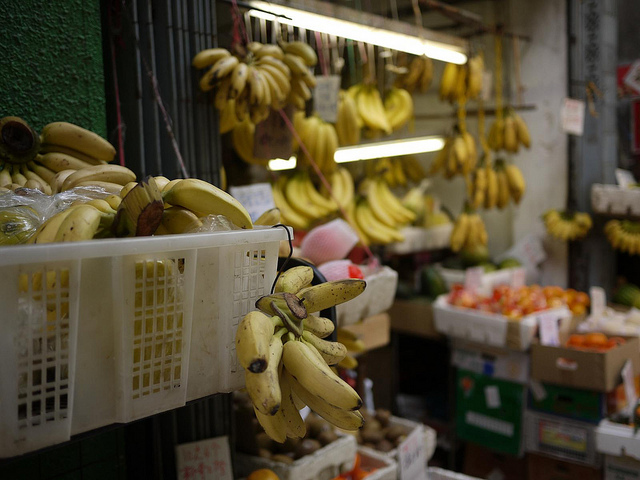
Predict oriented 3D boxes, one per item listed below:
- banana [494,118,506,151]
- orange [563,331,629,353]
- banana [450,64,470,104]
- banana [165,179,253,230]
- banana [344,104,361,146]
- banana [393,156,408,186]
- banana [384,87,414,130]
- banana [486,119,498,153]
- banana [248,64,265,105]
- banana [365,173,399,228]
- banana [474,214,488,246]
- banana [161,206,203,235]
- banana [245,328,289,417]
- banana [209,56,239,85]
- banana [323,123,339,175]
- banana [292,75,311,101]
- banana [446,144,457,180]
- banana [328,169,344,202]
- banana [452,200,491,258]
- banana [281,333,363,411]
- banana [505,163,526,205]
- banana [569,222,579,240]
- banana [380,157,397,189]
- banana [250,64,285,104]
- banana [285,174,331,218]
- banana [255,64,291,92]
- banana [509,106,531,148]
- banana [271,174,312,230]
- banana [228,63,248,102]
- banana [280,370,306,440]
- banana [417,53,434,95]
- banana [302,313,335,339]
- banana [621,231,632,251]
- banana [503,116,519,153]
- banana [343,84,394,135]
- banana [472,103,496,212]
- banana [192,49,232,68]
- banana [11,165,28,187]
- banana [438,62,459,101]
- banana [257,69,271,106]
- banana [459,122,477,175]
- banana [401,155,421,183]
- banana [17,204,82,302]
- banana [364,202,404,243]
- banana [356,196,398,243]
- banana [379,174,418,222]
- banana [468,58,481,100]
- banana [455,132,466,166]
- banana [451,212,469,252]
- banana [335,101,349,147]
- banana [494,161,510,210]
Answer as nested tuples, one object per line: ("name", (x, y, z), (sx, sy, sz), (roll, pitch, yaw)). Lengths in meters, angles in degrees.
("banana", (0.543, -0.319, 1.689), (0.024, 0.092, 0.025), (1, -2, -32))
("orange", (0.791, 0.292, 1.604), (0.166, 0.043, 0.073), (-2, 8, 27))
("banana", (0.455, -0.516, 1.817), (0.019, 0.113, 0.112), (-5, 7, -11))
("banana", (-0.306, -0.095, 1.517), (0.274, 0.078, 0.103), (32, -2, -1))
("banana", (0.191, -0.639, 3.230), (0.054, 0.273, 0.084), (-4, 24, 15))
("banana", (0.538, -0.476, 3.763), (0.046, 0.166, 0.033), (-5, -10, -30))
("banana", (0.428, -0.709, 3.071), (0.062, 0.242, 0.163), (7, 6, 43))
("banana", (0.523, -0.323, 1.708), (0.017, 0.076, 0.056), (2, 23, 15))
("banana", (-0.241, -0.580, 2.110), (0.048, 0.170, 0.039), (6, -21, -41))
("banana", (0.401, -0.259, 3.688), (0.057, 0.355, 0.113), (-30, -25, 21))
("banana", (0.537, -0.034, 1.855), (0.031, 0.119, 0.031), (-10, 17, 34))
("banana", (-0.347, -0.048, 1.399), (0.103, 0.047, 0.030), (15, -15, 12))
("banana", (-0.116, 0.317, 1.253), (0.052, 0.246, 0.075), (22, -15, -5))
("banana", (-0.362, -0.640, 2.102), (0.040, 0.046, 0.139), (-36, 9, 32))
("banana", (0.075, -0.516, 3.165), (0.067, 0.304, 0.104), (-7, 17, -27))
("banana", (-0.076, -0.682, 2.493), (0.056, 0.091, 0.194), (-3, 8, 13))
("banana", (0.463, -0.271, 1.961), (0.023, 0.126, 0.039), (-3, 16, -2))
("banana", (0.109, -0.351, 3.473), (0.059, 0.230, 0.155), (-2, -2, 30))
("banana", (0.529, -0.075, 1.981), (0.106, 0.228, 0.084), (-3, -9, 22))
("banana", (0.001, 0.317, 1.313), (0.195, 0.186, 0.058), (-1, 7, 27))
("banana", (0.585, -0.169, 1.683), (0.024, 0.107, 0.067), (-16, 37, 9))
("banana", (0.728, -0.025, 1.601), (0.025, 0.037, 0.008), (5, 2, 39))
("banana", (0.462, -0.466, 3.797), (0.042, 0.205, 0.065), (-6, 29, 39))
("banana", (-0.197, -0.625, 2.232), (0.065, 0.185, 0.047), (-42, 8, 14))
("banana", (-0.069, -0.202, 3.354), (0.351, 0.140, 0.062), (3, 16, -44))
("banana", (-0.193, -0.640, 2.200), (0.041, 0.159, 0.061), (-31, 29, 31))
("banana", (0.588, -0.336, 1.663), (0.030, 0.121, 0.030), (-15, -5, -31))
("banana", (-0.122, -0.242, 3.402), (0.402, 0.149, 0.073), (34, 44, 16))
("banana", (-0.313, -0.592, 2.117), (0.042, 0.058, 0.183), (9, 54, 4))
("banana", (-0.072, 0.431, 1.389), (0.038, 0.217, 0.065), (-11, 10, -15))
("banana", (0.395, -0.622, 2.141), (0.042, 0.098, 0.163), (-21, -18, 2))
("banana", (-0.006, 0.225, 1.443), (0.092, 0.031, 0.059), (30, -13, -37))
("banana", (0.854, 0.004, 1.560), (0.014, 0.064, 0.012), (6, 6, -27))
("banana", (0.569, -0.312, 1.671), (0.032, 0.117, 0.034), (-5, -4, -5))
("banana", (0.264, -0.744, 3.167), (0.135, 0.179, 0.401), (-40, 29, 18))
("banana", (0.511, -0.262, 1.741), (0.020, 0.321, 0.091), (-7, 7, -29))
("banana", (-0.409, -0.683, 2.099), (0.129, 0.076, 0.047), (-13, 20, -23))
("banana", (-0.911, -0.194, 1.692), (0.021, 0.048, 0.073), (-15, 56, -29))
("banana", (0.433, -0.536, 1.886), (0.037, 0.126, 0.030), (-20, -29, 41))
("banana", (-0.213, -0.581, 2.152), (0.042, 0.181, 0.033), (16, -32, -22))
("banana", (0.474, -0.289, 1.805), (0.035, 0.172, 0.050), (-19, 15, -40))
("banana", (0.588, -0.463, 3.624), (0.096, 0.158, 0.368), (-4, 7, 0))
("banana", (-0.587, 0.036, 1.214), (0.040, 0.207, 0.064), (7, -14, 23))
("banana", (0.395, -0.112, 3.552), (0.049, 0.265, 0.093), (-28, -25, -26))
("banana", (0.347, -0.121, 3.514), (0.053, 0.299, 0.110), (-47, -28, 25))
("banana", (0.554, -0.299, 3.958), (0.064, 0.374, 0.131), (-42, -12, 30))
("banana", (0.483, -0.506, 1.749), (0.028, 0.119, 0.032), (-8, -3, -38))
("banana", (0.464, -0.303, 1.853), (0.023, 0.103, 0.031), (-5, 4, 2))
("banana", (0.512, -0.022, 2.047), (0.045, 0.151, 0.038), (13, 44, 31))
("banana", (0.125, -0.654, 3.219), (0.055, 0.274, 0.084), (-14, 23, -11))
("banana", (0.556, -0.169, 1.702), (0.029, 0.162, 0.039), (-12, 15, -31))
